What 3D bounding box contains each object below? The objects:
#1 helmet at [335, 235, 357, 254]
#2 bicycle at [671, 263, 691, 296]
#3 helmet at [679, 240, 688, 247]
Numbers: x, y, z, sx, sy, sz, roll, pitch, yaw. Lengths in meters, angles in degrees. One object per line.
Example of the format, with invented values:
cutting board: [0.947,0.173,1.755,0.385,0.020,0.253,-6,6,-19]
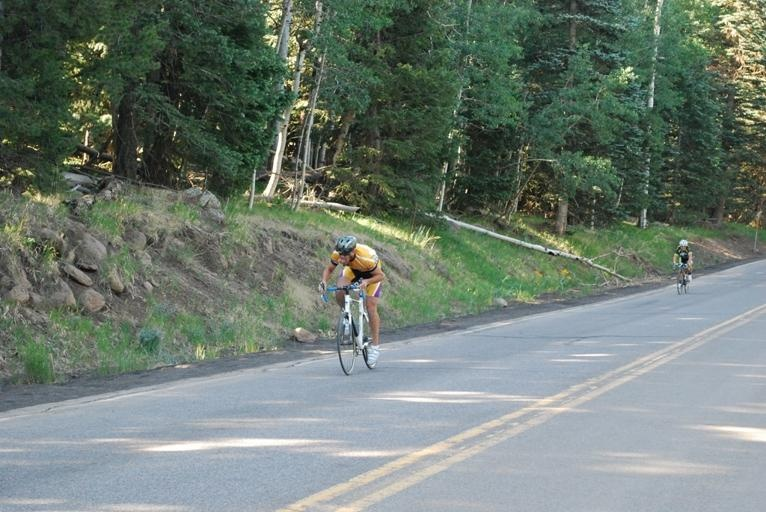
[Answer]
helmet: [-0.804,-0.251,21.459,0.411,0.400,0.416,0,9,-3]
bicycle: [11.376,0.829,38.224,1.002,1.232,2.076,-1,0,27]
helmet: [13.023,-0.595,42.412,0.265,0.311,0.352,-1,-29,3]
